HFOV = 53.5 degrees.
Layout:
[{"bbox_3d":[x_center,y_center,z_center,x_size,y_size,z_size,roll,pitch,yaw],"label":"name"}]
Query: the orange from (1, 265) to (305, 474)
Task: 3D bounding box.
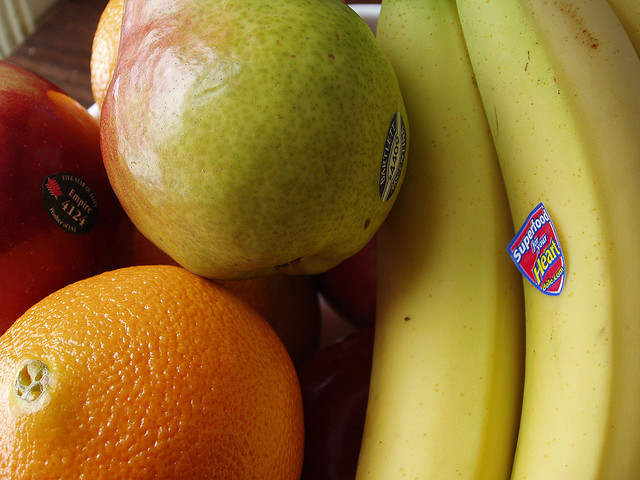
[{"bbox_3d":[-0.140,0.120,0.532,0.239,0.080,0.178,-8,62,-19],"label":"orange"}]
